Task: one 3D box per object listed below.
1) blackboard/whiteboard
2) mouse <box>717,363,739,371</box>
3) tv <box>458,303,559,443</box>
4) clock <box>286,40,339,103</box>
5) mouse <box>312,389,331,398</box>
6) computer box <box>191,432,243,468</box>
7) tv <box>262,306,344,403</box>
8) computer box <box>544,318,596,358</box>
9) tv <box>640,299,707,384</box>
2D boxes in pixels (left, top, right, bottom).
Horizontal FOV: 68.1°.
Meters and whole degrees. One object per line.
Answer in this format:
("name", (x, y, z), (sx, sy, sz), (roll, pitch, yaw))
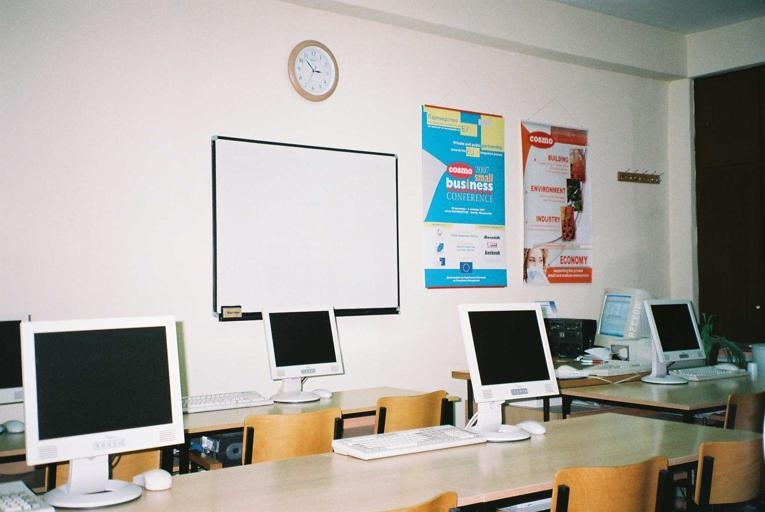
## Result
("blackboard/whiteboard", (-0.671, -0.213, 4.483), (1.595, 1.284, 0.335), (1, -4, -26))
("mouse", (2.831, 0.916, 4.666), (0.066, 0.026, 0.095), (1, 4, -4))
("tv", (0.616, 0.603, 3.057), (0.585, 0.676, 0.442), (3, -3, -31))
("clock", (-0.556, -1.513, 4.600), (0.485, 0.467, 0.071), (15, 31, 22))
("mouse", (-0.440, 0.986, 4.035), (0.066, 0.028, 0.107), (1, 0, -21))
("computer box", (-1.008, 1.247, 3.627), (0.208, 0.216, 0.331), (-4, -7, -37))
("tv", (-0.570, 0.732, 4.017), (0.538, 0.575, 0.310), (-1, -18, -24))
("computer box", (1.618, 0.721, 5.045), (0.330, 0.305, 0.236), (0, 1, 18))
("tv", (2.248, 0.688, 4.429), (0.596, 0.664, 0.367), (2, -7, -28))
